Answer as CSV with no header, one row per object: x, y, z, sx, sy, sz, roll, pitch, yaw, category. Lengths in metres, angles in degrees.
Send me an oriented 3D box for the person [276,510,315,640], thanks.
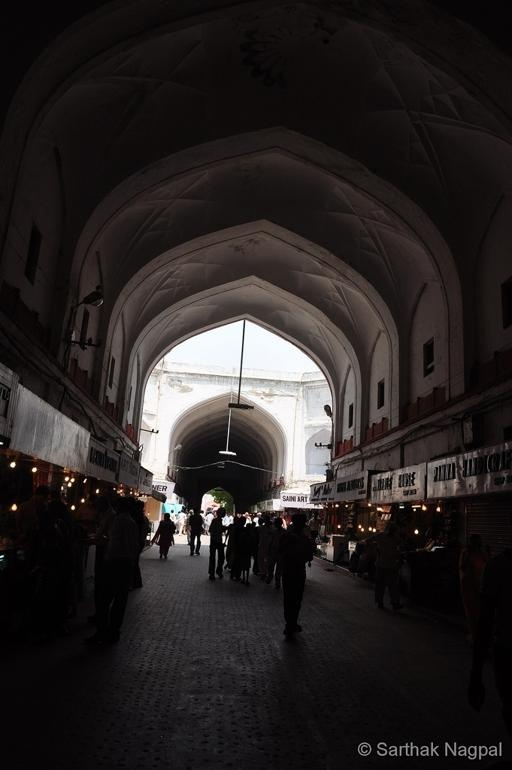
0.391,1.990,4.810,0.333,1.218,0.603,0,-13,15,person
